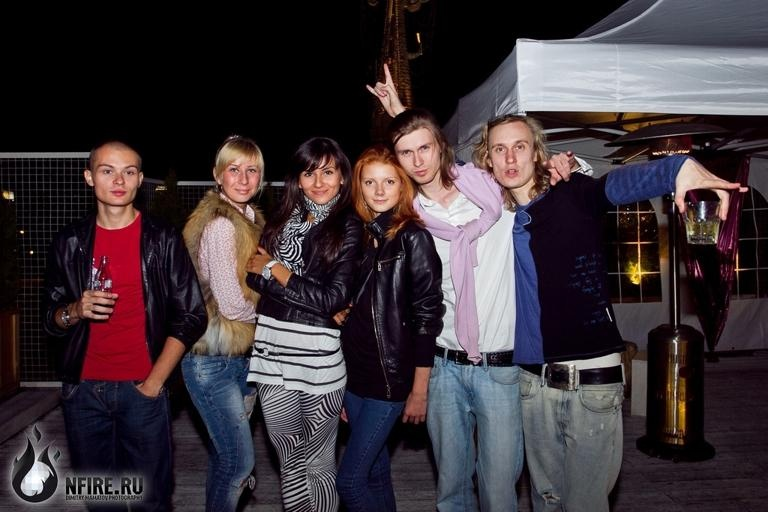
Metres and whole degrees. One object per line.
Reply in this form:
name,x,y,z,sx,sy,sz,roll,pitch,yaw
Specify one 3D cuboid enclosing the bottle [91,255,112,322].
bottle,-2.163,0.135,4.364,0.137,0.252,0.177,-5,11,-25
